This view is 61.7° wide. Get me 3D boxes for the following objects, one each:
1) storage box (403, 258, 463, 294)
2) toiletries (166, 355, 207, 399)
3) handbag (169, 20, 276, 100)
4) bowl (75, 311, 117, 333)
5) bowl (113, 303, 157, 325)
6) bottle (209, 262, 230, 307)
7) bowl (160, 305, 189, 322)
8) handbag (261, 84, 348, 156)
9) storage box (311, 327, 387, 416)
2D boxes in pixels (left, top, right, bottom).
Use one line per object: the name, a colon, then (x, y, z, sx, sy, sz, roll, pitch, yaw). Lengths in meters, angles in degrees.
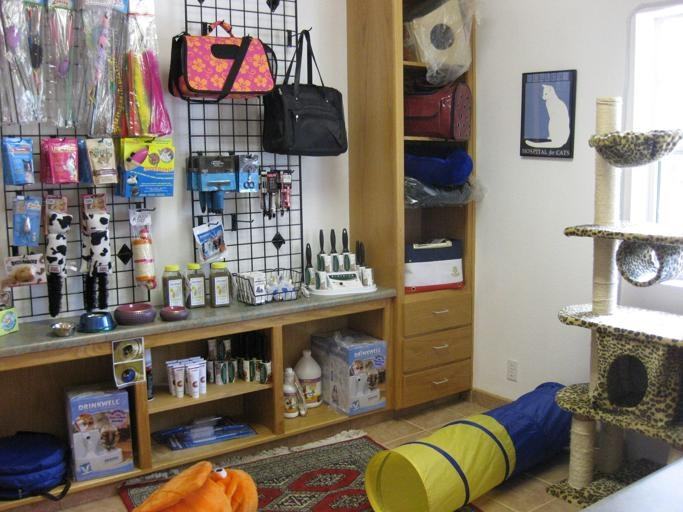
storage box: (0.608, 0.094, 3.741, 0.339, 0.220, 0.206, -2, 10, -29)
toiletries: (-0.803, 0.633, 3.118, 0.254, 0.283, 0.169, 0, 0, 2)
handbag: (-0.642, -1.051, 3.079, 0.542, 0.440, 0.311, -2, 13, -24)
bowl: (-1.187, 0.300, 2.780, 0.111, 0.052, 0.114, 1, 7, 0)
bowl: (-1.071, 0.290, 2.954, 0.194, 0.071, 0.258, -2, 14, -23)
bottle: (-0.680, 0.157, 3.221, 0.114, 0.234, 0.162, 0, 12, -13)
bowl: (-0.856, 0.304, 2.938, 0.140, 0.057, 0.077, 0, 13, -15)
handbag: (-0.201, -0.784, 3.292, 0.480, 0.405, 0.225, -1, 13, -19)
storage box: (0.071, 0.687, 3.555, 0.342, 0.495, 0.298, -4, 9, -29)
